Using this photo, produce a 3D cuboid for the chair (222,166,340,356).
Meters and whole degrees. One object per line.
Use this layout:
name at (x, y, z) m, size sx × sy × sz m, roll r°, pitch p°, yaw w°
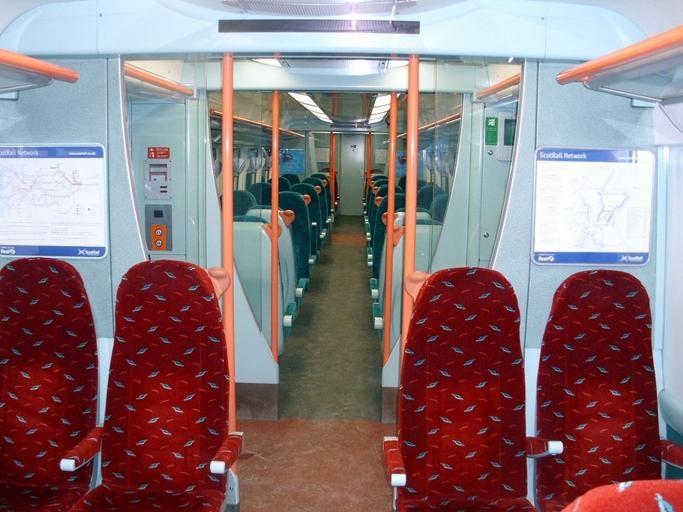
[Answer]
chair at (-0.292, 0.007, 5.713) m, size 1.218 × 1.797 × 1.043 m, roll 1°, pitch 9°, yaw 9°
